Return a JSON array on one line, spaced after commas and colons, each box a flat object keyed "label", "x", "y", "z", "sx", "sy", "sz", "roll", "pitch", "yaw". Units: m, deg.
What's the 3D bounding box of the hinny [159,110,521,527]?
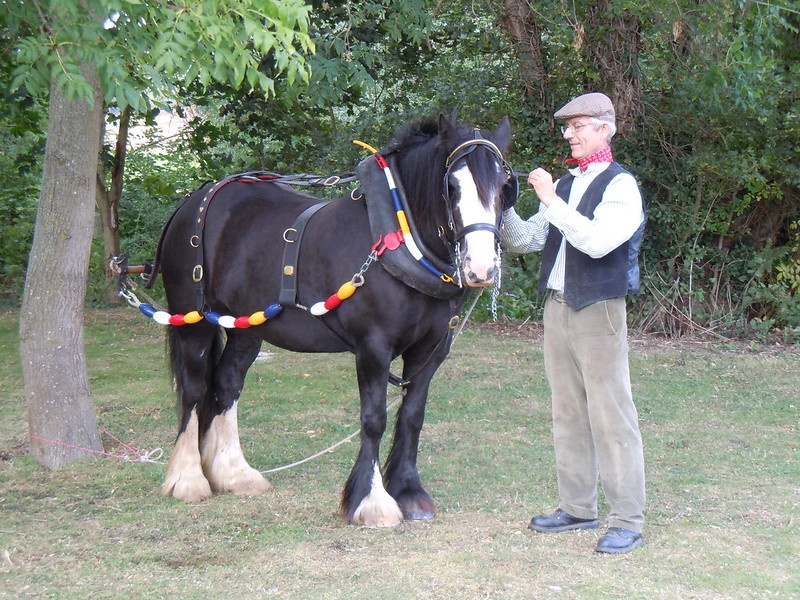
[{"label": "hinny", "x": -0.518, "y": 0.190, "z": 5.801, "sx": 3.173, "sy": 2.581, "sz": 1.022, "roll": -2, "pitch": -4, "yaw": 38}]

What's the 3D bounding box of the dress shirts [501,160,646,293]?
[{"label": "dress shirts", "x": 1.055, "y": -0.455, "z": 5.156, "sx": 0.557, "sy": 0.792, "sz": 0.809, "roll": -6, "pitch": 13, "yaw": -31}]

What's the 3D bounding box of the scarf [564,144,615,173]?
[{"label": "scarf", "x": 1.187, "y": -0.874, "z": 5.148, "sx": 0.227, "sy": 0.111, "sz": 0.164, "roll": -3, "pitch": -1, "yaw": 8}]

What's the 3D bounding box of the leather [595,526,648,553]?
[{"label": "leather", "x": 1.303, "y": 1.441, "z": 4.965, "sx": 0.264, "sy": 0.117, "sz": 0.123, "roll": 7, "pitch": -11, "yaw": -37}]

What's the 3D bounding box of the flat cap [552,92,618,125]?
[{"label": "flat cap", "x": 1.126, "y": -1.164, "z": 5.040, "sx": 0.272, "sy": 0.125, "sz": 0.202, "roll": 4, "pitch": 13, "yaw": 2}]

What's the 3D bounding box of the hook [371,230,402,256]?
[{"label": "hook", "x": -0.081, "y": -0.352, "z": 5.114, "sx": 0.190, "sy": 0.114, "sz": 0.046, "roll": -27, "pitch": -21, "yaw": 13}]

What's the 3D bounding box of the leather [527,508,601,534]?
[{"label": "leather", "x": 1.028, "y": 1.423, "z": 5.284, "sx": 0.444, "sy": 0.176, "sz": 0.160, "roll": 3, "pitch": -7, "yaw": 1}]
